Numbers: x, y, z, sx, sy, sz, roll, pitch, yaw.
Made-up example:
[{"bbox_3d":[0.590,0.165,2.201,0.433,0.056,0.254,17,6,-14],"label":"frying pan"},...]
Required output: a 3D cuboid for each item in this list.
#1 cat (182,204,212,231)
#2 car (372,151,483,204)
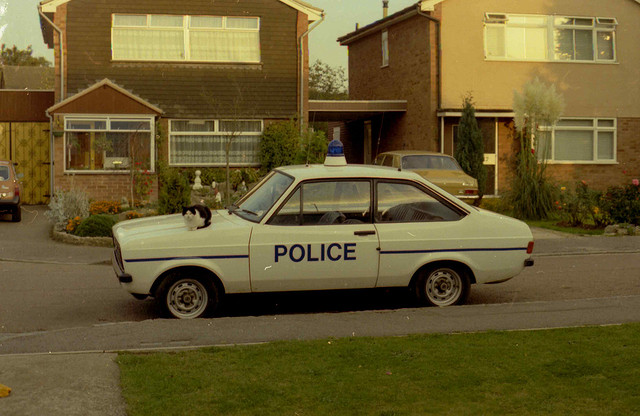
[{"bbox_3d":[-2.377,0.162,16.900,0.384,0.512,0.676,4,21,32],"label":"cat"},{"bbox_3d":[3.610,-0.812,27.471,1.397,1.062,3.122,0,9,-15],"label":"car"}]
